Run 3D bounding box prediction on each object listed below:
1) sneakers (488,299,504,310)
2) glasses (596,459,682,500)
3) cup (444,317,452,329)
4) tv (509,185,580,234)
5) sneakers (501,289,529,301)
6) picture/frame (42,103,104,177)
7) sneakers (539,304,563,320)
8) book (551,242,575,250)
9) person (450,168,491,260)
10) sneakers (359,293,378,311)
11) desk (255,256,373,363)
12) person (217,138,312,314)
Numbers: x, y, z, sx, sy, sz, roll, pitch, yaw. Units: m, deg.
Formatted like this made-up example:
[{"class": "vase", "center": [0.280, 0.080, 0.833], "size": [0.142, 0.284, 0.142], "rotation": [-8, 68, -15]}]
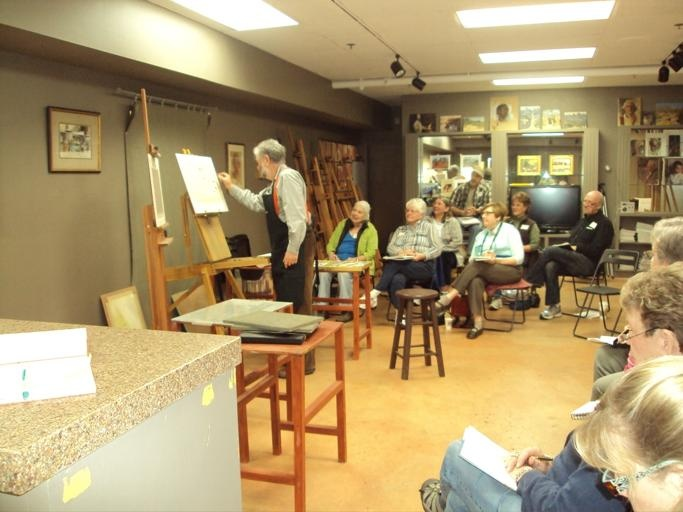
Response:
[{"class": "sneakers", "center": [1.972, 0.619, 7.032], "size": [0.091, 0.174, 0.255], "rotation": [-1, -1, 25]}, {"class": "glasses", "center": [0.750, 0.551, 1.394], "size": [0.157, 0.049, 0.131], "rotation": [-36, -34, 15]}, {"class": "cup", "center": [1.199, 0.776, 6.204], "size": [0.100, 0.105, 0.095], "rotation": [0, -3, 0]}, {"class": "tv", "center": [3.189, -0.711, 8.459], "size": [0.865, 0.646, 0.230], "rotation": [1, 2, 14]}, {"class": "sneakers", "center": [2.237, 0.514, 7.101], "size": [0.266, 0.143, 0.386], "rotation": [2, 0, 15]}, {"class": "picture/frame", "center": [-2.259, -0.980, 4.634], "size": [0.586, 0.513, 0.037], "rotation": [7, 10, 23]}, {"class": "sneakers", "center": [2.473, 0.682, 6.542], "size": [0.333, 0.246, 0.123], "rotation": [-2, 2, -15]}, {"class": "book", "center": [2.776, -0.120, 6.835], "size": [0.196, 0.054, 0.200], "rotation": [4, -3, 7]}, {"class": "person", "center": [2.040, -0.645, 8.846], "size": [0.620, 1.582, 0.816], "rotation": [8, 8, 13]}, {"class": "sneakers", "center": [0.298, 0.520, 6.365], "size": [0.119, 0.262, 0.367], "rotation": [2, -8, 24]}, {"class": "desk", "center": [-0.183, 0.457, 5.629], "size": [1.034, 1.043, 0.777], "rotation": [1, 5, 16]}, {"class": "person", "center": [-0.470, -0.245, 4.482], "size": [0.331, 1.358, 0.532], "rotation": [-6, 16, -44]}]
